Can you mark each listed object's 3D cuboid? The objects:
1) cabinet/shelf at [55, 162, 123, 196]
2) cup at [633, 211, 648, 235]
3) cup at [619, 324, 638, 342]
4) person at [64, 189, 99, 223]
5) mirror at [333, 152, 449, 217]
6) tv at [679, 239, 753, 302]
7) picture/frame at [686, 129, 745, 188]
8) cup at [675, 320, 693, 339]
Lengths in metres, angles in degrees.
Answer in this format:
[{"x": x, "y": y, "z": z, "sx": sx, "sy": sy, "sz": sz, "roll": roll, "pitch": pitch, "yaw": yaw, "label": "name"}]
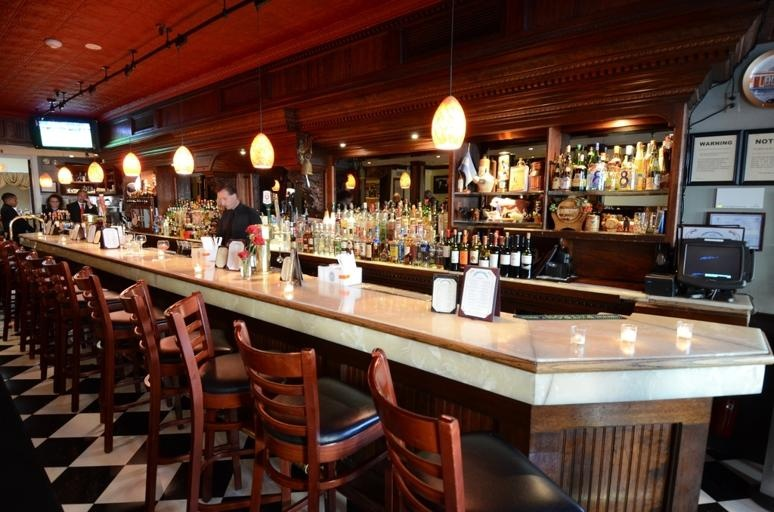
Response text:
[{"x": -6.857, "y": -1.746, "z": 12.712, "sx": 1.040, "sy": 0.565, "sz": 0.305, "roll": -1, "pitch": 0, "yaw": -1, "label": "cabinet/shelf"}, {"x": 2.473, "y": -0.335, "z": 5.249, "sx": 0.123, "sy": 0.191, "sz": 0.078, "roll": 2, "pitch": 8, "yaw": 17, "label": "cup"}, {"x": 1.764, "y": 0.557, "z": 3.945, "sx": 0.117, "sy": 0.128, "sz": 0.118, "roll": 1, "pitch": 3, "yaw": 0, "label": "cup"}, {"x": -6.185, "y": -1.023, "z": 10.901, "sx": 0.558, "sy": 0.610, "sz": 1.340, "roll": -4, "pitch": 8, "yaw": -29, "label": "person"}, {"x": 0.036, "y": -1.044, "z": 7.555, "sx": 1.790, "sy": 1.009, "sz": 0.208, "roll": 4, "pitch": 3, "yaw": 13, "label": "mirror"}, {"x": 2.964, "y": 0.120, "z": 4.851, "sx": 0.573, "sy": 0.545, "sz": 0.310, "roll": 1, "pitch": -1, "yaw": 28, "label": "tv"}, {"x": 3.266, "y": -0.973, "z": 5.294, "sx": 0.571, "sy": 0.705, "sz": 0.076, "roll": 6, "pitch": 1, "yaw": 28, "label": "picture/frame"}, {"x": 2.226, "y": 0.552, "z": 4.029, "sx": 0.117, "sy": 0.109, "sz": 0.117, "roll": 0, "pitch": 13, "yaw": 0, "label": "cup"}]
